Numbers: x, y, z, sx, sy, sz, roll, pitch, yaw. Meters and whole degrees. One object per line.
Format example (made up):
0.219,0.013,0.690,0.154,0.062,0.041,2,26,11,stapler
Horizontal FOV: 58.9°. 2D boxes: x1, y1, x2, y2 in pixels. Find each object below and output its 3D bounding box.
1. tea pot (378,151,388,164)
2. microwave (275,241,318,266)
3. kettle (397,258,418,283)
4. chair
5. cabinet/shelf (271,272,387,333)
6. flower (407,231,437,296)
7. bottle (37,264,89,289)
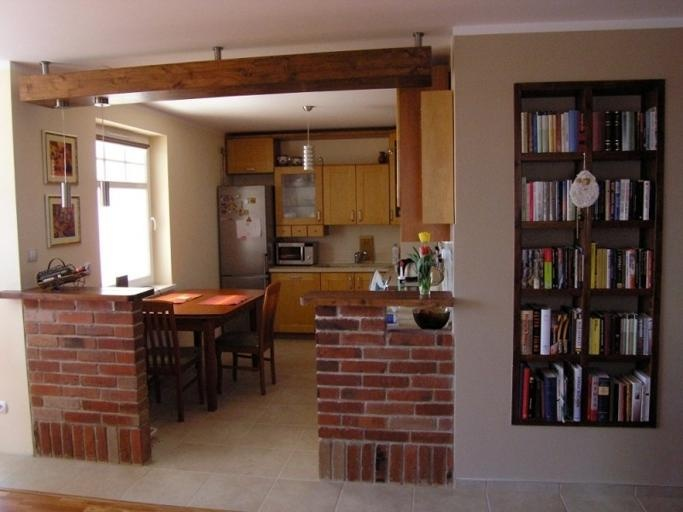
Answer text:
0.521,-1.199,7.285,0.144,0.139,0.109,3,4,24,tea pot
-0.550,-0.027,7.453,0.435,0.279,0.283,0,-2,13,microwave
0.671,0.143,5.933,0.217,0.307,0.091,-2,-2,5,kettle
-1.401,0.820,5.576,1.000,0.629,1.263,0,5,10,chair
-0.277,0.526,7.336,1.153,0.803,0.220,0,11,3,cabinet/shelf
0.584,0.046,4.225,0.198,0.420,0.179,-8,14,-37,flower
-2.074,0.154,4.523,0.290,0.122,0.185,-12,-4,-16,bottle
